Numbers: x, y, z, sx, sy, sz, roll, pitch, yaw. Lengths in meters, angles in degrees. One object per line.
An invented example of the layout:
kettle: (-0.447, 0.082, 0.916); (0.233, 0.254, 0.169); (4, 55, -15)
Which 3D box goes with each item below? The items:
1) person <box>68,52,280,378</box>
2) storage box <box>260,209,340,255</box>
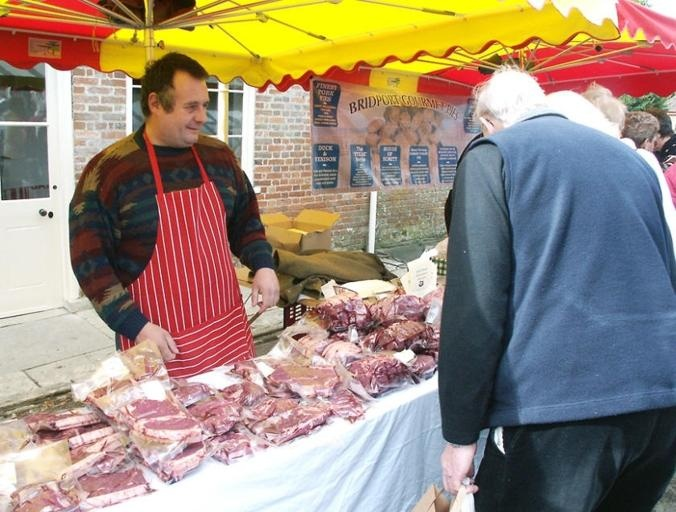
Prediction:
person: (-0.842, -0.214, 2.731); (0.572, 1.600, 0.970); (4, 14, 34)
storage box: (-0.364, -0.218, 4.509); (0.501, 0.157, 0.527); (-10, 18, -44)
